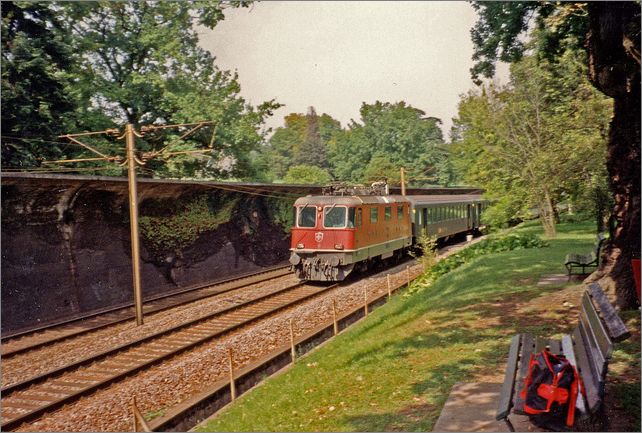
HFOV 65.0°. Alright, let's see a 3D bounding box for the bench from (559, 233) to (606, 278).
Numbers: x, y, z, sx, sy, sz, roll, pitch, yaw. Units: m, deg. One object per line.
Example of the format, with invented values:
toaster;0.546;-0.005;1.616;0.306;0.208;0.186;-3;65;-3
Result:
bench;8.807;1.433;16.918;1.004;1.170;2.272;-4;0;27
